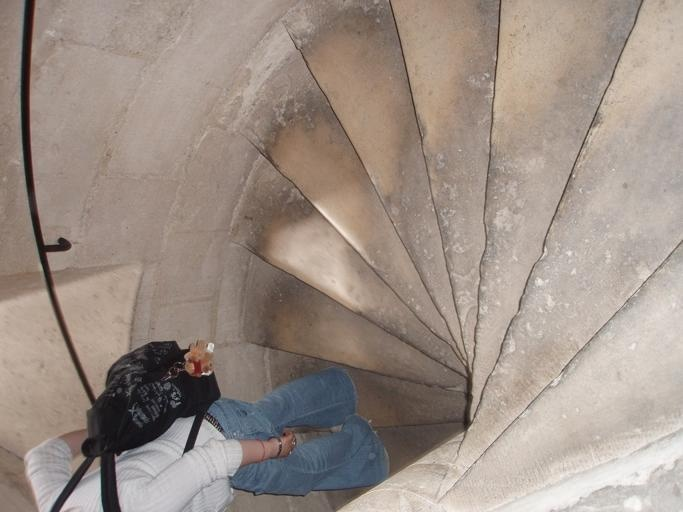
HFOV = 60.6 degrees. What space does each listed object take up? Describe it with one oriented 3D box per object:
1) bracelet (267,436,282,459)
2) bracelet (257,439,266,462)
[{"bbox_3d":[-0.277,0.805,2.471,0.039,0.074,0.080,-27,-6,30],"label":"bracelet"},{"bbox_3d":[-0.325,0.789,2.398,0.028,0.068,0.047,-24,-6,17],"label":"bracelet"}]
